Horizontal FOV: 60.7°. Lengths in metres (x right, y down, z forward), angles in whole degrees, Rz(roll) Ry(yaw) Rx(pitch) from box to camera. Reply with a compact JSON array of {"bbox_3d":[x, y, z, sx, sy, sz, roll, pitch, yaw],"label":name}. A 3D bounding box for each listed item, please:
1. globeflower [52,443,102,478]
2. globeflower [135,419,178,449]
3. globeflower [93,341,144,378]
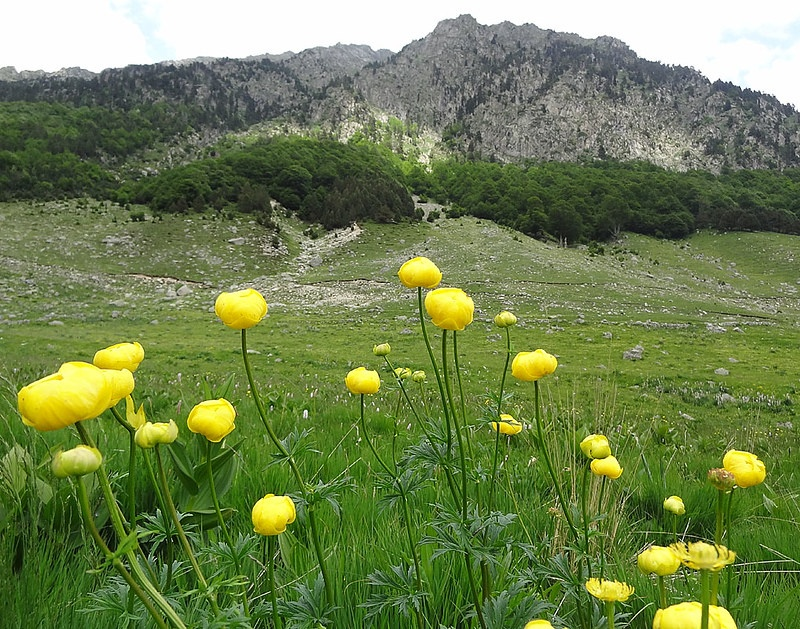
[{"bbox_3d":[-2.374,1.086,5.012,0.252,0.186,0.300,-9,-15,-19],"label":"globeflower"},{"bbox_3d":[-1.852,0.909,5.234,0.222,0.171,0.274,-20,-5,16],"label":"globeflower"},{"bbox_3d":[-2.277,0.349,5.550,0.331,0.221,0.298,-18,11,-25],"label":"globeflower"}]
